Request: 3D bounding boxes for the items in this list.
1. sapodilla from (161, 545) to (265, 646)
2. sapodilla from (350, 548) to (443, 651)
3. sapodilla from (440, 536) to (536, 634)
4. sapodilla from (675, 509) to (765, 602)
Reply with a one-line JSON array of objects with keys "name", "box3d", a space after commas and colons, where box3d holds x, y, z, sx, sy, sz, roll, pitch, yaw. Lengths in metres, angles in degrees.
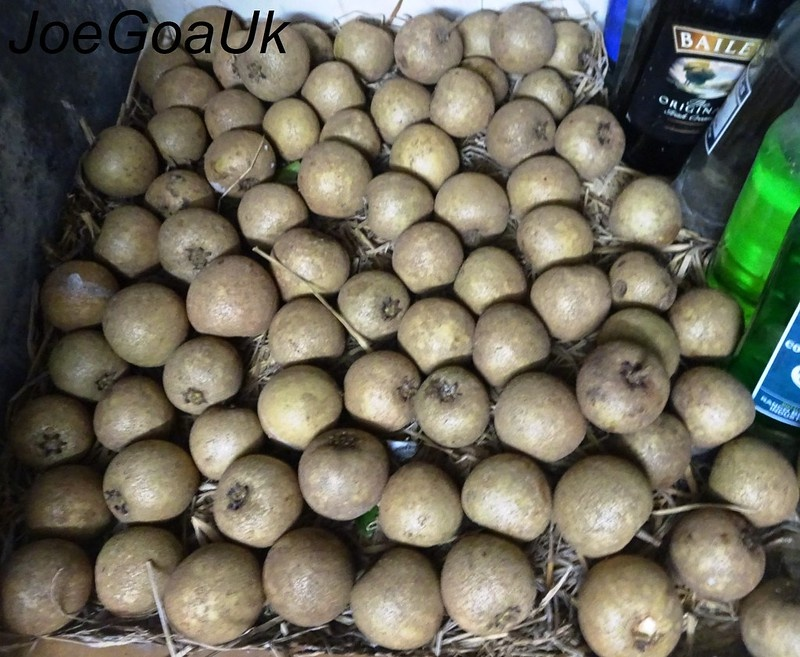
[{"name": "sapodilla", "box3d": [-0.471, 0.674, 1.899, 0.249, 0.147, 0.220, -18, 61, -17]}, {"name": "sapodilla", "box3d": [0.002, 0.671, 1.848, 0.225, 0.100, 0.212, -35, 68, -24]}, {"name": "sapodilla", "box3d": [0.214, 0.650, 1.870, 0.244, 0.156, 0.275, 0, 41, 9]}, {"name": "sapodilla", "box3d": [0.811, 0.593, 1.928, 0.229, 0.249, 0.246, -11, 72, 29]}]
